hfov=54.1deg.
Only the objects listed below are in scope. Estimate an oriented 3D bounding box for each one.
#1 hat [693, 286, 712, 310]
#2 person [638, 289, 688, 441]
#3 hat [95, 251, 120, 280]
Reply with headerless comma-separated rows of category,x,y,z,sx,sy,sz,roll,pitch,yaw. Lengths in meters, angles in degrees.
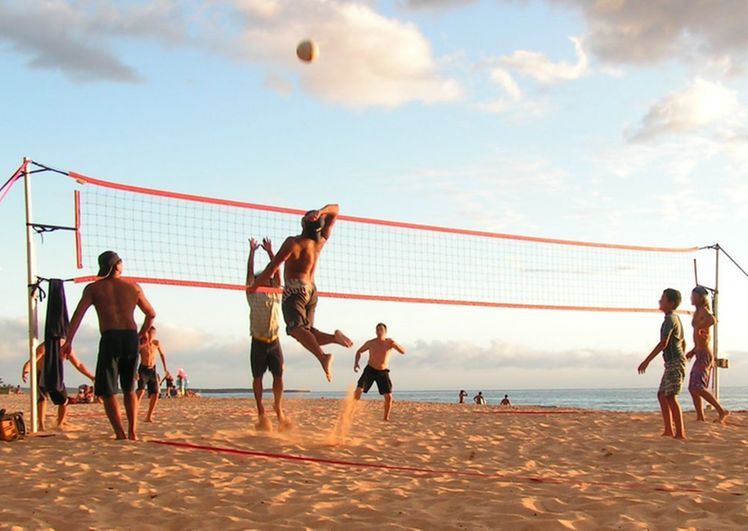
hat,3.561,0.358,7.960,0.161,0.223,0.441,-1,-4,23
person,2.890,0.975,7.263,0.389,1.477,0.943,-1,-4,22
hat,-2.257,0.004,6.223,0.195,0.305,0.141,10,-11,-9
